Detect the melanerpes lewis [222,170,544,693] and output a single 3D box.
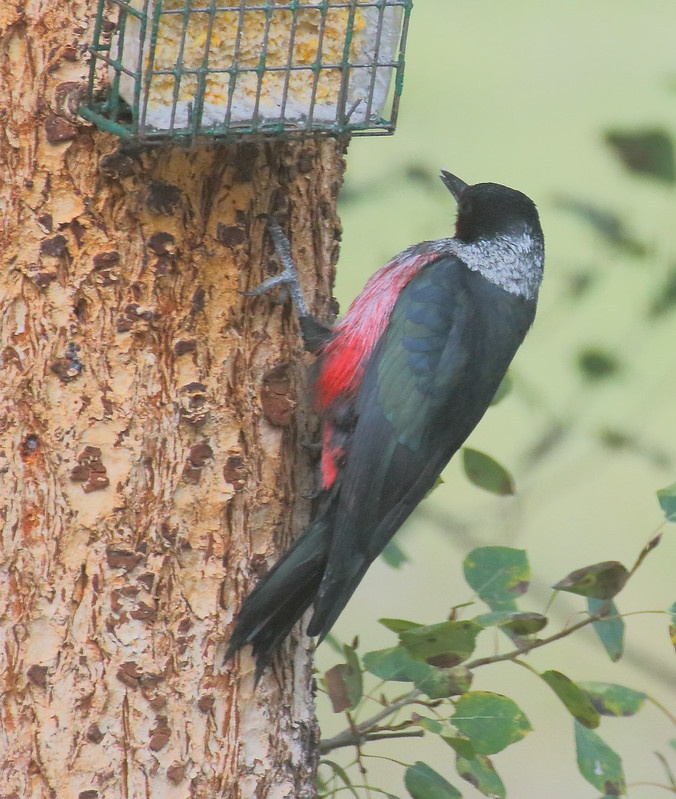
[{"bbox_3d":[0.488,0.064,3.622,0.812,1.083,1.084,12,15,-8],"label":"melanerpes lewis"}]
